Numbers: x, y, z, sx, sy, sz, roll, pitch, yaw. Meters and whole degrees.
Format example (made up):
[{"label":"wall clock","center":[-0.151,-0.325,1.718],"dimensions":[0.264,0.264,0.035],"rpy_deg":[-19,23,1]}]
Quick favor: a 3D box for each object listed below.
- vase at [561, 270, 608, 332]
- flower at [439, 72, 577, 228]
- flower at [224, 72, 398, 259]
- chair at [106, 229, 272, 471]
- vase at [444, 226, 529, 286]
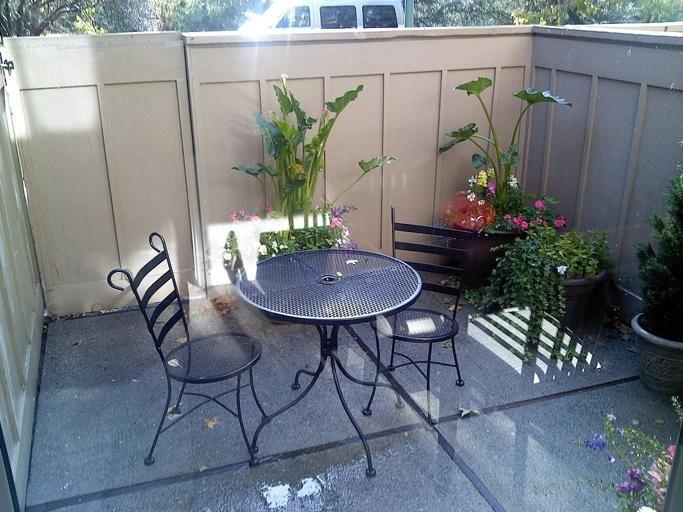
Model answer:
[{"label":"vase","center":[1.377,0.233,2.874],"dimensions":[0.291,0.287,0.294],"rpy_deg":[-5,10,-21]},{"label":"flower","center":[0.913,-0.551,2.732],"dimensions":[0.902,0.877,0.299],"rpy_deg":[-16,26,-34]},{"label":"flower","center":[-0.177,-0.516,2.472],"dimensions":[0.727,0.760,0.314],"rpy_deg":[1,21,4]},{"label":"chair","center":[-0.630,0.412,2.167],"dimensions":[0.560,0.921,0.476],"rpy_deg":[-2,19,-10]},{"label":"vase","center":[0.730,0.034,2.861],"dimensions":[0.282,0.225,0.295],"rpy_deg":[32,-14,-24]}]
